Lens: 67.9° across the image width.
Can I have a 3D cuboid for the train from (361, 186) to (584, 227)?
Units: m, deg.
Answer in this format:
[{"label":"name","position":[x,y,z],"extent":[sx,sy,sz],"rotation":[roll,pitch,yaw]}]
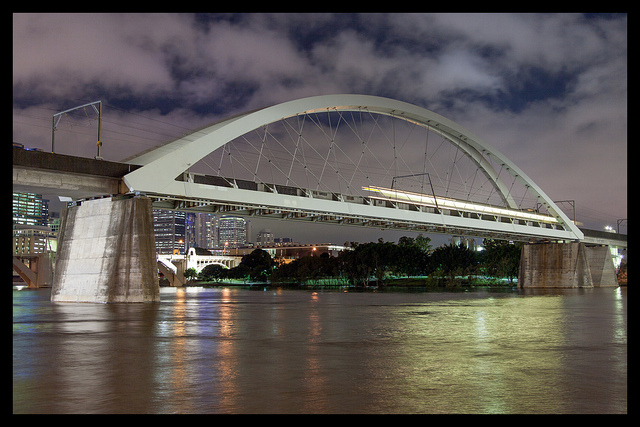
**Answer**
[{"label":"train","position":[17.432,-0.464,62.518],"extent":[29.317,2.125,2.609],"rotation":[9,-14,-23]}]
